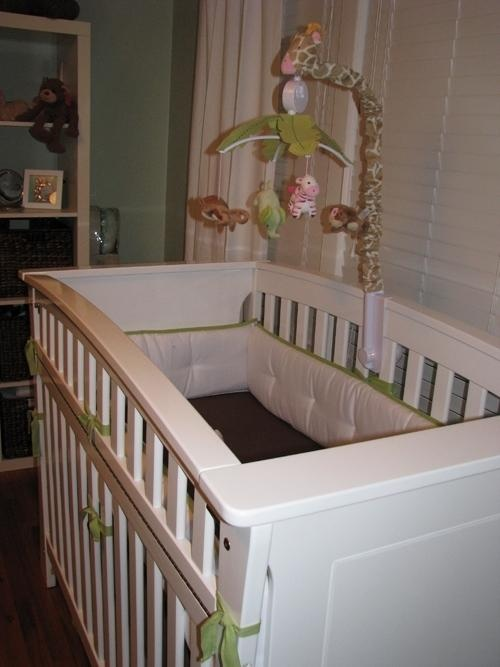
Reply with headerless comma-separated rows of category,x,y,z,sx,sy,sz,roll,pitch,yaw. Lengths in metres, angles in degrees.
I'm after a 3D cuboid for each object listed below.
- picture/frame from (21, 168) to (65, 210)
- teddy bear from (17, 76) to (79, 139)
picture/frame,-0.842,-0.583,2.130,0.186,0.238,0.018,-1,0,-10
teddy bear,-0.752,-0.863,1.996,0.226,0.203,0.174,16,34,5
